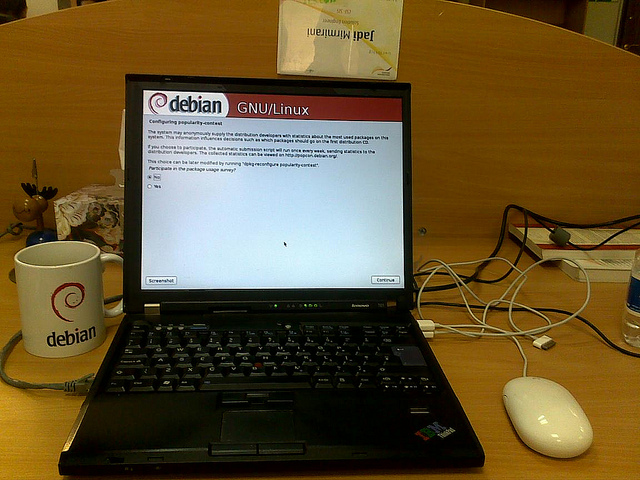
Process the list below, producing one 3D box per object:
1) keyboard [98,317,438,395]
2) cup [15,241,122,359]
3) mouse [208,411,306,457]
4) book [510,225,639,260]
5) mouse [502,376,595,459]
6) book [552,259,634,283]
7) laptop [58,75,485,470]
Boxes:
[{"bbox_3d":[-0.066,0.160,0.788,0.442,0.054,0.144,1,15,-3],"label":"keyboard"},{"bbox_3d":[-0.366,0.081,0.837,0.180,0.151,0.112,-5,20,-30],"label":"cup"},{"bbox_3d":[-0.078,0.236,0.684,0.074,0.014,0.050,1,25,-4],"label":"mouse"},{"bbox_3d":[0.518,0.004,1.112,0.133,0.021,0.128,1,19,5],"label":"book"},{"bbox_3d":[0.290,0.224,0.728,0.087,0.061,0.125,-1,15,-12],"label":"mouse"},{"bbox_3d":[0.528,0.054,1.037,0.072,0.015,0.068,1,13,5],"label":"book"},{"bbox_3d":[-0.059,0.045,0.867,0.587,0.403,0.507,0,20,-5],"label":"laptop"}]
